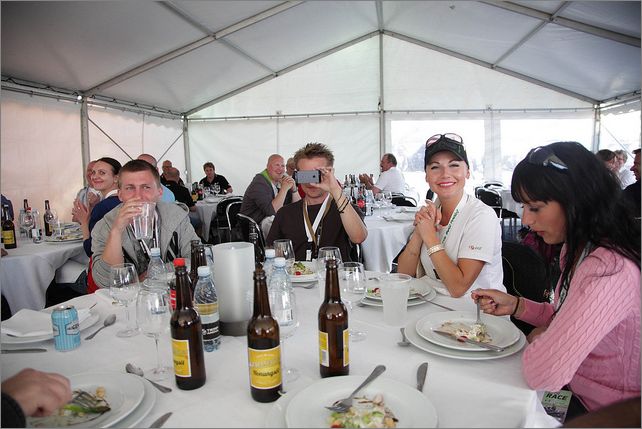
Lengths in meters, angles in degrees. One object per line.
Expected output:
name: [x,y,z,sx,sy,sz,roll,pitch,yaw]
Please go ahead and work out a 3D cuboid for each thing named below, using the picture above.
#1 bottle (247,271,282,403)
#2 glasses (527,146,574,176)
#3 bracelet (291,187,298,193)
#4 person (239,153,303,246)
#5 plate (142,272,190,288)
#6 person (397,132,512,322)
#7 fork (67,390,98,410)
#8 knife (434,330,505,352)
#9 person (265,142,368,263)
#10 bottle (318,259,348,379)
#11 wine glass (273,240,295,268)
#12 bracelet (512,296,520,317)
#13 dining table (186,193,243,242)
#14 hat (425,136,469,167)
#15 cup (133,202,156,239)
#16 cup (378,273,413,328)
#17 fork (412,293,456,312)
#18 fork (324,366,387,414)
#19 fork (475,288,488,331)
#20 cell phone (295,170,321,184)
bottle: [-0.205,0.421,1.419,0.124,0.464,0.119,-2,7,0]
glasses: [0.940,-0.226,1.674,0.130,0.047,0.095,29,-13,-22]
bracelet: [-0.351,-0.321,5.359,0.079,0.057,0.087,-4,9,-37]
person: [-0.680,-0.090,5.276,0.841,1.331,0.737,1,9,-6]
plate: [-0.683,0.288,1.762,0.159,0.038,0.044,2,21,27]
person: [0.791,0.109,2.425,0.679,1.115,0.635,-6,5,-20]
fork: [-0.830,0.643,1.401,0.125,0.023,0.038,0,28,26]
knife: [0.601,0.517,1.634,0.212,0.010,0.030,11,26,32]
person: [-0.040,-0.078,2.912,0.742,0.867,0.460,-3,7,-8]
bottle: [0.044,0.386,1.481,0.115,0.442,0.072,-2,7,-1]
wine glass: [-0.206,0.224,2.242,0.117,0.158,0.117,-3,-5,-17]
bracelet: [0.926,0.432,1.886,0.016,0.065,0.067,19,-12,8]
dining table: [-2.028,0.000,7.027,0.567,0.715,0.554,11,5,-27]
hat: [0.756,-0.406,2.467,0.265,0.171,0.213,-1,0,26]
cup: [-0.947,0.040,2.146,0.107,0.195,0.228,-5,8,-23]
cup: [0.333,0.378,1.796,0.213,0.243,0.202,0,1,0]
fork: [0.554,0.434,1.979,0.023,0.016,0.139,36,-6,-41]
fork: [0.115,0.612,1.395,0.037,0.031,0.262,15,23,35]
fork: [0.714,0.426,1.783,0.036,0.022,0.183,13,42,6]
cell phone: [-0.103,-0.261,2.836,0.210,0.092,0.077,2,8,30]
